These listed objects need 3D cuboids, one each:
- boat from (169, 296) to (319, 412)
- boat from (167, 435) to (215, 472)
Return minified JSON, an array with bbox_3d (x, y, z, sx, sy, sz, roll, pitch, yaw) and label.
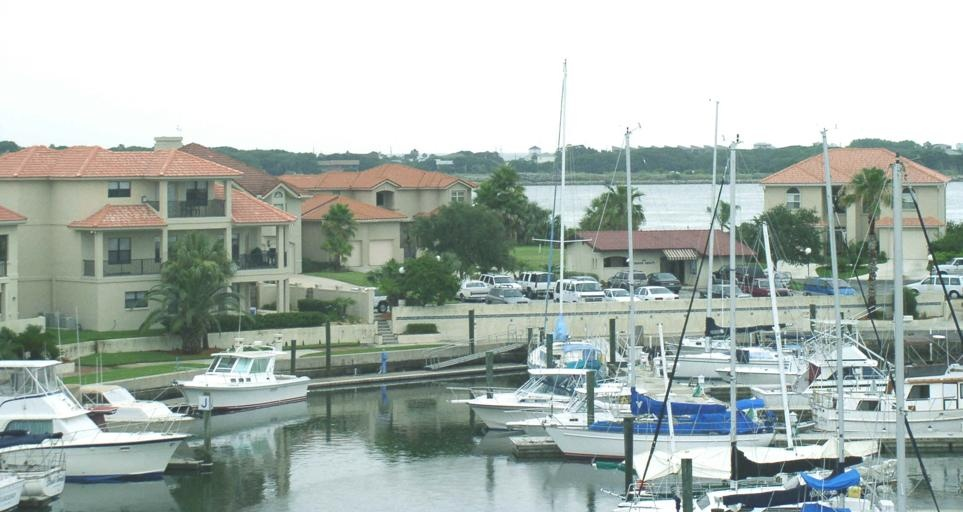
[{"bbox_3d":[-18.440,9.749,129.633,10.906,5.015,4.805,-5,7,-30],"label":"boat"},{"bbox_3d":[-21.253,14.854,119.686,2.549,1.640,2.481,3,-1,3],"label":"boat"}]
